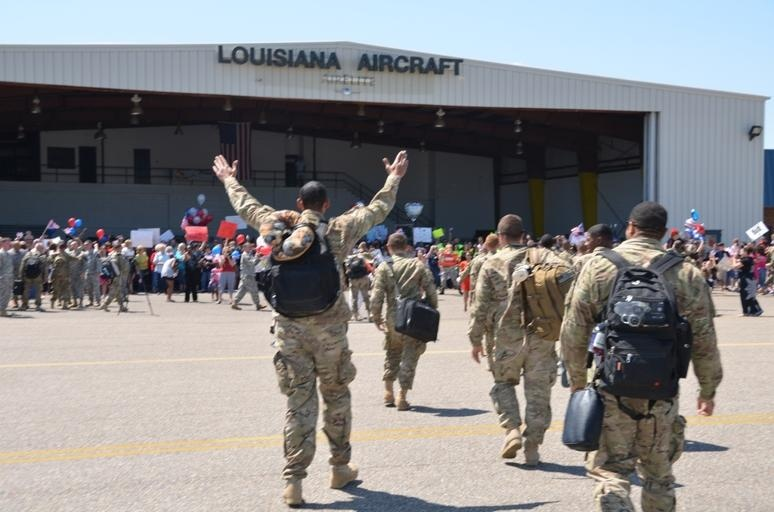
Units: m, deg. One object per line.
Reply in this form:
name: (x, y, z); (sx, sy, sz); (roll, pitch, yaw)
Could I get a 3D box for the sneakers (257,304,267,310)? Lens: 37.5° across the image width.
sneakers: (-3.674, 1.502, 33.567); (0.277, 0.082, 0.174); (-12, 34, 14)

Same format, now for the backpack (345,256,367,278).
backpack: (-0.553, 0.184, 19.826); (0.351, 0.353, 0.430); (1, 0, 4)

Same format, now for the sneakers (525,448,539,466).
sneakers: (2.574, 3.579, 20.482); (0.291, 0.310, 0.143); (0, 2, -2)
